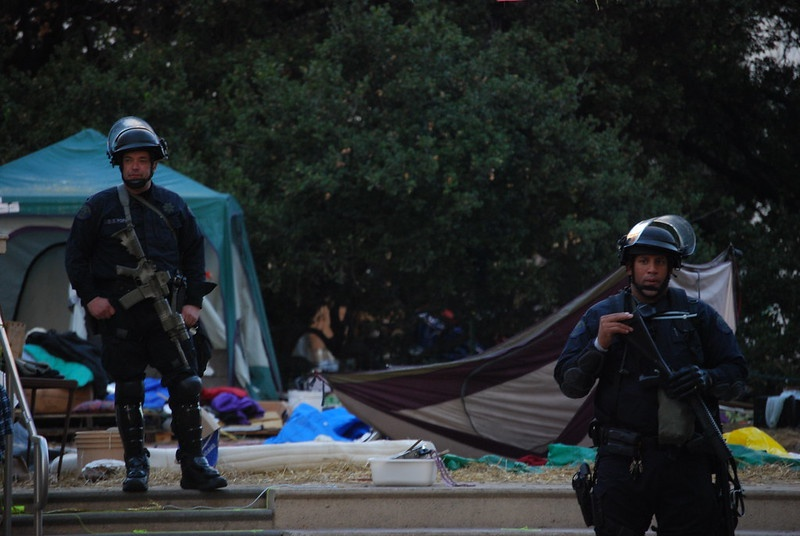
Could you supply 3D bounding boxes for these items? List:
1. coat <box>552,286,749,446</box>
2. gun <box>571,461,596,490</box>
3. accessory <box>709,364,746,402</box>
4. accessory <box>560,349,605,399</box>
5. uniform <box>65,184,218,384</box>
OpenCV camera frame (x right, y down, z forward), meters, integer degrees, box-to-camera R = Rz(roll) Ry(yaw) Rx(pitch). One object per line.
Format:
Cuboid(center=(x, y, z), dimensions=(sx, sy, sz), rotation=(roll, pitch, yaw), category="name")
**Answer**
Cuboid(center=(3.968, 1.602, 27.013), dimensions=(3.366, 3.030, 2.106), rotation=(-4, -16, 5), category="coat")
Cuboid(center=(2.881, 3.299, 26.263), dimensions=(0.281, 0.434, 0.152), rotation=(21, -9, -3), category="gun")
Cuboid(center=(5.131, 1.813, 26.017), dimensions=(0.516, 0.557, 0.418), rotation=(13, 2, 11), category="accessory")
Cuboid(center=(2.864, 1.553, 26.339), dimensions=(0.618, 0.790, 0.376), rotation=(32, 18, -17), category="accessory")
Cuboid(center=(-4.304, 0.460, 28.326), dimensions=(2.024, 3.630, 0.924), rotation=(-11, -6, -6), category="uniform")
